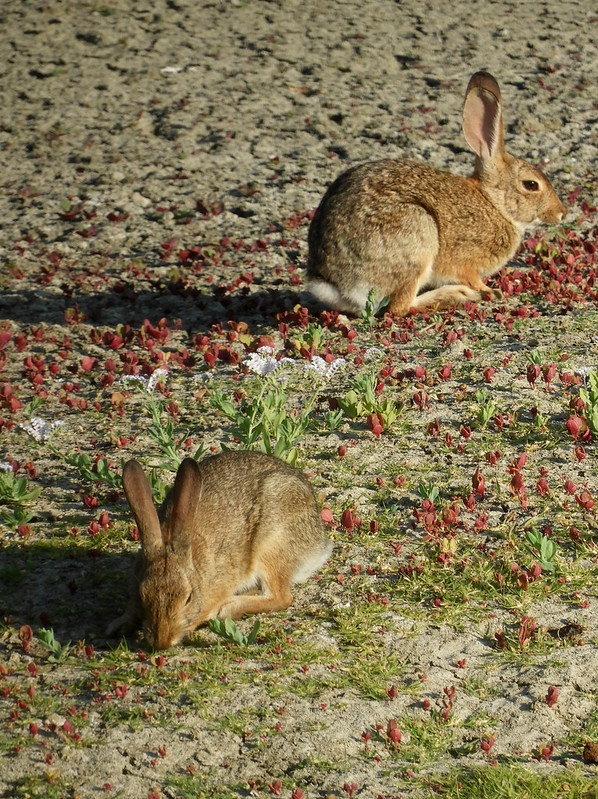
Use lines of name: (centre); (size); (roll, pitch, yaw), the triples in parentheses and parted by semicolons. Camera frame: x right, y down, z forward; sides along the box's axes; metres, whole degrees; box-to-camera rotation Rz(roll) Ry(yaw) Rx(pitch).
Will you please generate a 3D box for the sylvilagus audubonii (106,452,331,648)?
sylvilagus audubonii: (-0.339, 0.632, 4.616); (0.712, 0.719, 1.119); (22, 42, 22)
